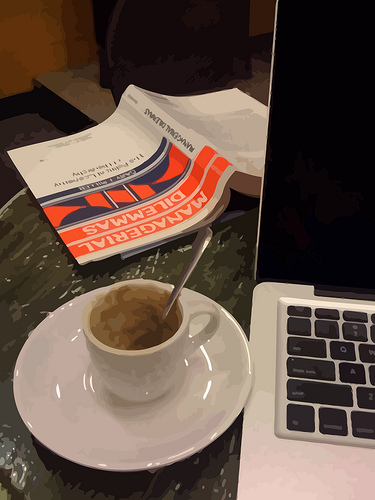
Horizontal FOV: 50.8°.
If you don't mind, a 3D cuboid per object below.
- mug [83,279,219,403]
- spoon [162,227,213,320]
[{"bbox_3d":[-0.030,0.079,0.341,0.105,0.068,0.083,-4,46,-9],"label":"mug"},{"bbox_3d":[0.004,0.011,0.364,0.012,0.028,0.106,16,74,51],"label":"spoon"}]
